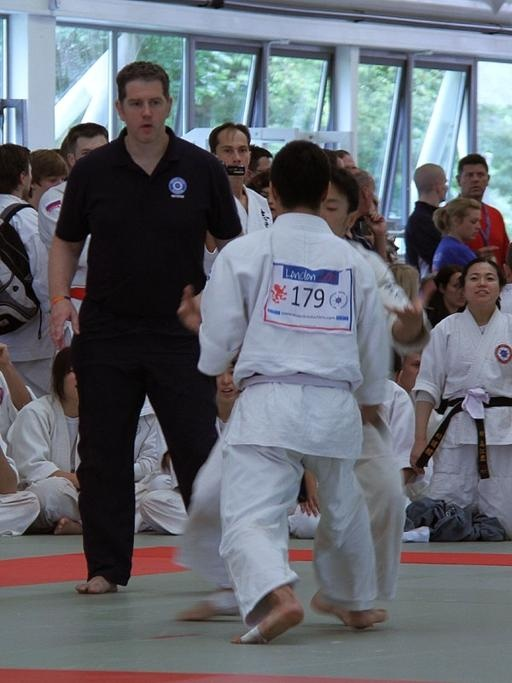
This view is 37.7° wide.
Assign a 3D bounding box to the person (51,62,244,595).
[{"bbox_3d":[-0.348,-0.032,2.448,0.687,1.715,0.570,1,5,-11],"label":"person"}]
